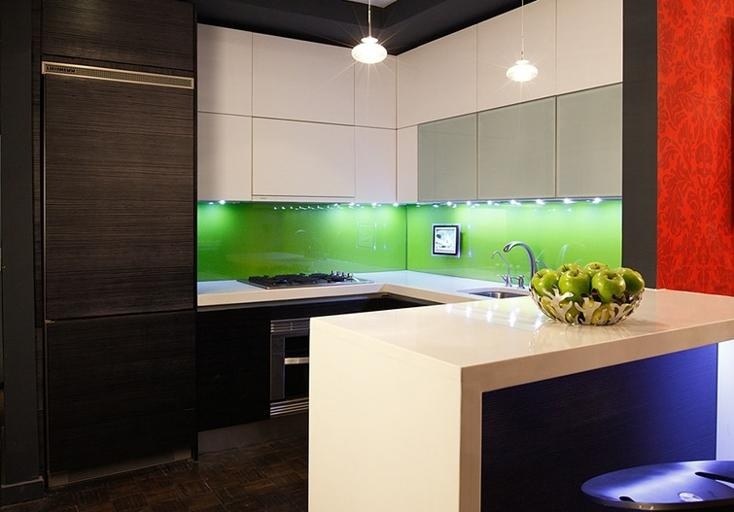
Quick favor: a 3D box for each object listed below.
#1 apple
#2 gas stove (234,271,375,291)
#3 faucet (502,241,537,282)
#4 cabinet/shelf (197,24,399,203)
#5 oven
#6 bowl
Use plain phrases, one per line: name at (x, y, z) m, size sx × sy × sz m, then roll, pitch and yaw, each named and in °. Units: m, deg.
apple at (0.792, 0.129, 1.894) m, size 0.266 × 0.142 × 0.269 m, roll -3°, pitch 0°, yaw -8°
gas stove at (-0.486, 0.183, 4.108) m, size 0.901 × 0.045 × 0.674 m, roll -2°, pitch 9°, yaw -20°
faucet at (1.114, 0.019, 3.768) m, size 0.210 × 0.255 × 0.422 m, roll 3°, pitch 9°, yaw 19°
cabinet/shelf at (-0.582, -1.082, 3.958) m, size 1.364 × 0.995 × 0.443 m, roll -1°, pitch 0°, yaw -25°
oven at (-0.613, 0.805, 3.873) m, size 0.414 × 0.599 × 0.392 m, roll 10°, pitch -8°, yaw -36°
bowl at (0.789, 0.194, 1.869) m, size 0.200 × 0.069 × 0.203 m, roll 0°, pitch 0°, yaw 0°
